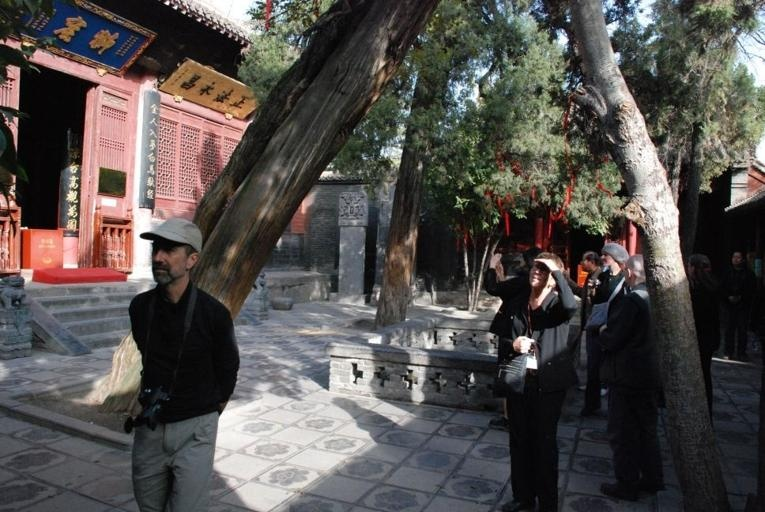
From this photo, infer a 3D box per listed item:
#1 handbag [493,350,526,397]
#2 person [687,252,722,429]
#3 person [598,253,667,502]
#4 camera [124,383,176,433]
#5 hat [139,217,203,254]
[{"bbox_3d":[1.115,1.023,4.697,0.271,0.374,0.185,2,-4,28],"label":"handbag"},{"bbox_3d":[3.536,0.879,5.987,0.545,1.789,0.296,6,-4,-24],"label":"person"},{"bbox_3d":[2.330,1.093,5.061,0.616,2.244,0.313,5,-4,-13],"label":"person"},{"bbox_3d":[-1.528,0.988,3.560,0.164,0.086,0.234,22,-15,21],"label":"camera"},{"bbox_3d":[-1.429,-0.162,3.743,0.306,0.203,0.421,1,-15,28],"label":"hat"}]
